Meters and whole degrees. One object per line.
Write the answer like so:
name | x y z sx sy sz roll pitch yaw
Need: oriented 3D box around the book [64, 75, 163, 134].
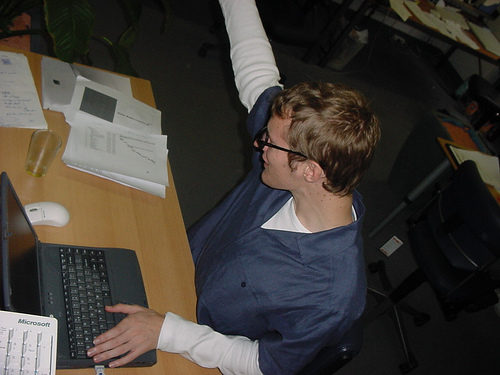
book | -0.585 -0.354 1.805 0.268 0.068 0.279 20 48 -28

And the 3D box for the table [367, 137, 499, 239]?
table | 1.168 0.120 2.804 0.617 0.550 0.606 52 8 -27

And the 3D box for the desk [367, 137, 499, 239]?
desk | 1.140 0.131 2.781 0.612 0.552 0.605 50 12 -18

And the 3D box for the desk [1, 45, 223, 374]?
desk | -0.523 0.171 1.612 0.805 0.292 1.329 7 58 -25

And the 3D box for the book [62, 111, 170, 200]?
book | -0.565 -0.111 1.738 0.398 0.095 0.310 20 54 -21

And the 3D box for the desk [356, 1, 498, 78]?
desk | 1.511 -1.341 3.465 1.220 0.230 0.593 22 25 -10

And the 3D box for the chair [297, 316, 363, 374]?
chair | 0.313 0.623 1.497 0.140 0.301 0.105 13 26 -23

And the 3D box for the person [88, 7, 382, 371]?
person | 0.049 0.099 1.517 0.850 1.036 0.695 18 24 -15

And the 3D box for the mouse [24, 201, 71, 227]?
mouse | -0.711 0.094 1.446 0.135 0.048 0.072 1 55 -42

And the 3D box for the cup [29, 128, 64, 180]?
cup | -0.784 -0.132 1.577 0.109 0.155 0.166 12 27 -25
